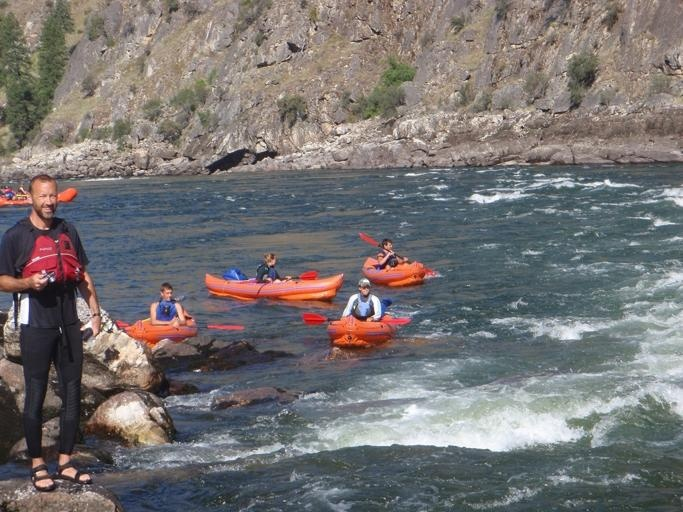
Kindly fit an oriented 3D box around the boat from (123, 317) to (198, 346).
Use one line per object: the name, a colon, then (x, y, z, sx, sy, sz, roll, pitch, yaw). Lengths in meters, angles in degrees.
boat: (-11.105, 4.573, 85.536, 3.553, 0.914, 1.843, 0, 6, -12)
